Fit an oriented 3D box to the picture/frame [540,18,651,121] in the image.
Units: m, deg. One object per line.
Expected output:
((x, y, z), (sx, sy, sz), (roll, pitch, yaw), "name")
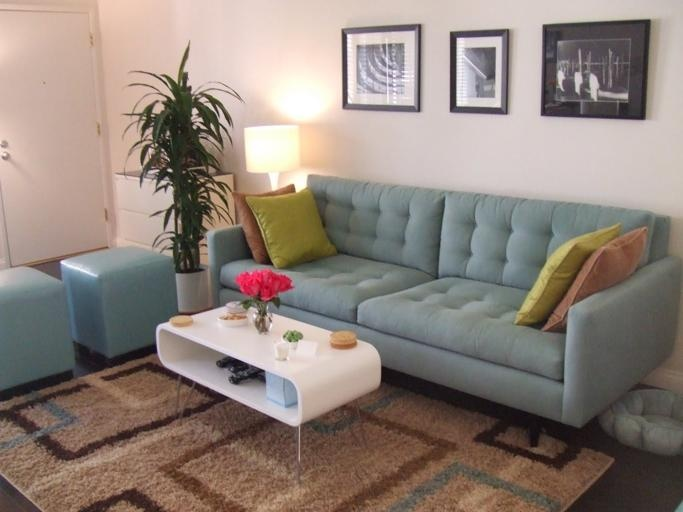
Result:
((1.495, -1.096, 3.131), (0.607, 0.544, 0.024), (9, 17, 39), "picture/frame")

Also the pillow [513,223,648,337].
((1.170, 0.091, 2.683), (0.227, 0.551, 0.548), (27, -2, 10), "pillow")

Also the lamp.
((-0.554, -0.791, 4.359), (0.422, 0.709, 0.414), (-14, 19, -40), "lamp")

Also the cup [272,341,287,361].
((-0.277, 0.438, 2.490), (0.071, 0.064, 0.067), (-1, 7, 0), "cup")

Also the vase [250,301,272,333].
((-0.421, 0.321, 2.794), (0.112, 0.188, 0.108), (-5, 20, -4), "vase")

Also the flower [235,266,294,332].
((-0.418, 0.183, 2.878), (0.304, 0.387, 0.371), (0, 11, 11), "flower")

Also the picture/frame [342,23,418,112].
((0.305, -1.420, 4.008), (0.671, 0.596, 0.055), (7, 13, 38), "picture/frame")
